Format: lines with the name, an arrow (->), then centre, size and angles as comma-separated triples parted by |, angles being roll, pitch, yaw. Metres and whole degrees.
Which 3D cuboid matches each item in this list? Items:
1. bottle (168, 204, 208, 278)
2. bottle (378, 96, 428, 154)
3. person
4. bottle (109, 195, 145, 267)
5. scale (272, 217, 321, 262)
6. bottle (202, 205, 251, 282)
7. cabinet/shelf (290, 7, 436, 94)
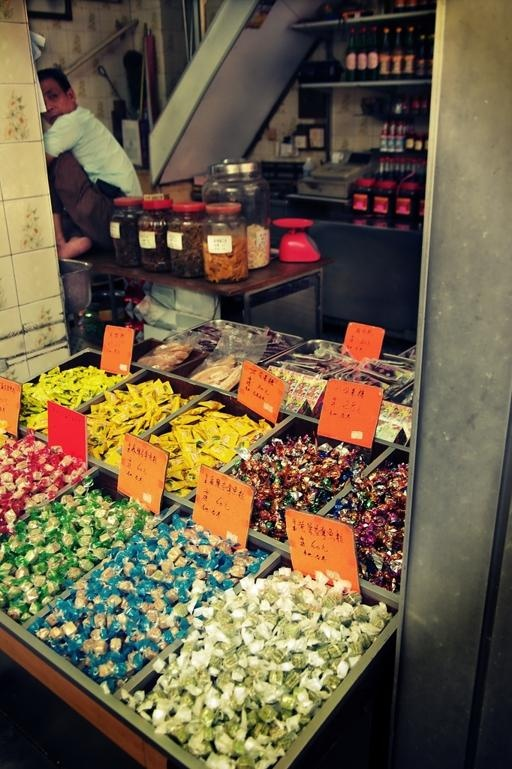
bottle -> -0.340, -0.731, 2.798 | 0.221, 0.360, 0.228 | 2, 29, -1
bottle -> 1.343, -2.330, 5.041 | 0.464, 0.449, 0.343 | 10, 25, 28
person -> -1.340, -1.845, 4.457 | 0.649, 1.246, 0.711 | -8, 23, -13
bottle -> -0.683, -0.838, 3.088 | 0.222, 0.364, 0.221 | 1, 19, 0
scale -> 0.221, -0.789, 3.066 | 0.281, 0.198, 0.249 | 1, 27, 2
bottle -> -0.151, -0.680, 2.659 | 0.215, 0.352, 0.216 | -2, 22, 1
cabinet/shelf -> 0.976, -2.777, 4.665 | 1.075, 0.534, 0.971 | 7, 24, 22
